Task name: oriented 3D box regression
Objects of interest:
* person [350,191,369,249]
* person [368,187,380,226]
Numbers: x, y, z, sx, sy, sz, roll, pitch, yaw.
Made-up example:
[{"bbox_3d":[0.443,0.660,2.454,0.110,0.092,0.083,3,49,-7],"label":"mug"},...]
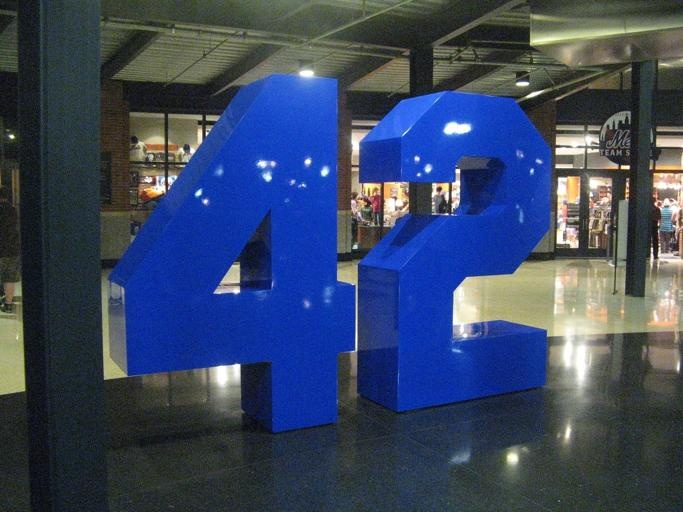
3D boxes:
[{"bbox_3d":[0.468,-0.976,16.695,0.432,1.494,0.216,-5,10,-37],"label":"person"},{"bbox_3d":[0.966,-1.342,16.701,0.339,0.992,0.141,6,9,31],"label":"person"}]
